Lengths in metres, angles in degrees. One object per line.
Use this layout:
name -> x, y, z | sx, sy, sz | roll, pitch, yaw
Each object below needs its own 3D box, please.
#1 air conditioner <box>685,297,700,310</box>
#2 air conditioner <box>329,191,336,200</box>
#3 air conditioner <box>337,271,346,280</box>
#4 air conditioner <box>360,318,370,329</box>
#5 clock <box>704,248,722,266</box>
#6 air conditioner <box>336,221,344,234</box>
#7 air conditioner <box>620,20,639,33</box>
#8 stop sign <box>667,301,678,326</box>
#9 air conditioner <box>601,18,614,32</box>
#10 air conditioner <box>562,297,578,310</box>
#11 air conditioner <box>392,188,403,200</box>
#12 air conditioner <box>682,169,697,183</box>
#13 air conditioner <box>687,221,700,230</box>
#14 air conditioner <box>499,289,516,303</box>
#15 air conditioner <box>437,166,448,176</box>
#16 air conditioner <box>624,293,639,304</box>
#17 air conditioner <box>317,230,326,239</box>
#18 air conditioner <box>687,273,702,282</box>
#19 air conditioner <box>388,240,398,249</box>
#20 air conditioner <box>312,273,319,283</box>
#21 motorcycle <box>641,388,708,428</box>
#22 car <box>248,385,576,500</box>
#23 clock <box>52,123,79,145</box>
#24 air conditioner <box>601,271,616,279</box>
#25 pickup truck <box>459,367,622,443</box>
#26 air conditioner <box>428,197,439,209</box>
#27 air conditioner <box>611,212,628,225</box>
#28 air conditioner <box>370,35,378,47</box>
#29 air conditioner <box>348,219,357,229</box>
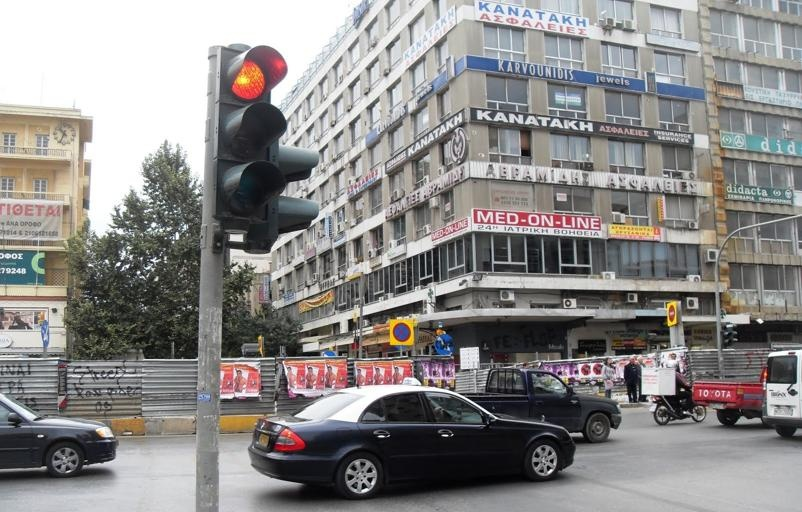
air conditioner -> 19.396, 3.119, 50.798 | 0.645, 0.909, 1.471 | -7, -12, 33
air conditioner -> -5.903, -5.146, 66.344 | 0.703, 0.729, 0.664 | 0, -9, 1
air conditioner -> -4.916, 1.647, 63.284 | 0.569, 0.642, 0.732 | -1, -13, -4
air conditioner -> -2.596, 5.221, 58.795 | 0.580, 0.796, 0.956 | 0, -10, 3
clock -> 20.459, 0.106, 50.092 | 1.148, 1.028, 0.598 | 4, -12, -6
air conditioner -> -5.122, -2.324, 64.552 | 0.503, 0.899, 0.958 | 4, -11, -20
air conditioner -> 15.307, -15.264, 51.172 | 0.958, 0.651, 0.477 | 6, -15, -26
stop sign -> 14.123, 2.973, 39.476 | 0.518, 1.230, 0.971 | 2, -10, -8
air conditioner -> 13.648, -15.144, 50.411 | 0.908, 0.731, 0.492 | 2, -10, -4
air conditioner -> 10.574, 3.151, 47.894 | 0.989, 0.668, 0.551 | 2, -15, -4
air conditioner -> -0.206, -4.318, 54.332 | 0.684, 0.831, 1.158 | 2, -7, -15
air conditioner -> 19.654, -5.443, 52.024 | 1.150, 0.792, 0.262 | 6, -12, -30
air conditioner -> 19.854, -2.012, 51.718 | 0.963, 0.651, 0.481 | 0, -1, -26
air conditioner -> 6.559, 2.503, 46.966 | 1.167, 0.830, 0.636 | 2, -12, -9
air conditioner -> 2.726, -5.418, 49.701 | 0.497, 0.861, 0.947 | -1, 1, -26
air conditioner -> 14.914, 2.701, 49.222 | 0.623, 0.692, 0.718 | -4, -11, 21
air conditioner -> -7.065, -1.892, 68.144 | 0.685, 0.946, 0.807 | -10, -13, 43
air conditioner -> 19.627, 1.497, 51.049 | 1.291, 0.597, 0.374 | 8, -13, -37
air conditioner -> -0.528, -0.742, 55.184 | 0.449, 0.730, 0.773 | 9, -15, -27
air conditioner -> -7.542, 1.982, 68.212 | 0.589, 0.960, 1.029 | 2, -9, -14
motorcycle -> 10.922, 6.097, 30.643 | 2.375, 1.385, 1.216 | -1, -4, -19
car -> 0.388, 5.017, 20.930 | 7.595, 2.120, 3.143 | -1, -6, -14
clock -> -27.229, -9.779, 61.769 | 1.911, 1.833, 0.200 | 1, -9, -35
air conditioner -> 13.310, 1.288, 48.671 | 0.887, 0.570, 0.464 | 2, -13, -11
pickup truck -> 4.967, 5.043, 25.142 | 5.083, 2.575, 1.501 | 0, -6, -6
air conditioner -> 2.196, -3.465, 50.097 | 0.287, 0.708, 0.822 | 6, -12, -29
air conditioner -> 14.221, -2.428, 49.599 | 1.204, 0.777, 0.365 | 8, -13, -36
air conditioner -> -2.070, -16.471, 59.094 | 0.453, 0.529, 0.835 | 6, -5, -5
air conditioner -> -3.714, -2.606, 62.304 | 0.570, 0.982, 1.052 | 0, 0, -44
